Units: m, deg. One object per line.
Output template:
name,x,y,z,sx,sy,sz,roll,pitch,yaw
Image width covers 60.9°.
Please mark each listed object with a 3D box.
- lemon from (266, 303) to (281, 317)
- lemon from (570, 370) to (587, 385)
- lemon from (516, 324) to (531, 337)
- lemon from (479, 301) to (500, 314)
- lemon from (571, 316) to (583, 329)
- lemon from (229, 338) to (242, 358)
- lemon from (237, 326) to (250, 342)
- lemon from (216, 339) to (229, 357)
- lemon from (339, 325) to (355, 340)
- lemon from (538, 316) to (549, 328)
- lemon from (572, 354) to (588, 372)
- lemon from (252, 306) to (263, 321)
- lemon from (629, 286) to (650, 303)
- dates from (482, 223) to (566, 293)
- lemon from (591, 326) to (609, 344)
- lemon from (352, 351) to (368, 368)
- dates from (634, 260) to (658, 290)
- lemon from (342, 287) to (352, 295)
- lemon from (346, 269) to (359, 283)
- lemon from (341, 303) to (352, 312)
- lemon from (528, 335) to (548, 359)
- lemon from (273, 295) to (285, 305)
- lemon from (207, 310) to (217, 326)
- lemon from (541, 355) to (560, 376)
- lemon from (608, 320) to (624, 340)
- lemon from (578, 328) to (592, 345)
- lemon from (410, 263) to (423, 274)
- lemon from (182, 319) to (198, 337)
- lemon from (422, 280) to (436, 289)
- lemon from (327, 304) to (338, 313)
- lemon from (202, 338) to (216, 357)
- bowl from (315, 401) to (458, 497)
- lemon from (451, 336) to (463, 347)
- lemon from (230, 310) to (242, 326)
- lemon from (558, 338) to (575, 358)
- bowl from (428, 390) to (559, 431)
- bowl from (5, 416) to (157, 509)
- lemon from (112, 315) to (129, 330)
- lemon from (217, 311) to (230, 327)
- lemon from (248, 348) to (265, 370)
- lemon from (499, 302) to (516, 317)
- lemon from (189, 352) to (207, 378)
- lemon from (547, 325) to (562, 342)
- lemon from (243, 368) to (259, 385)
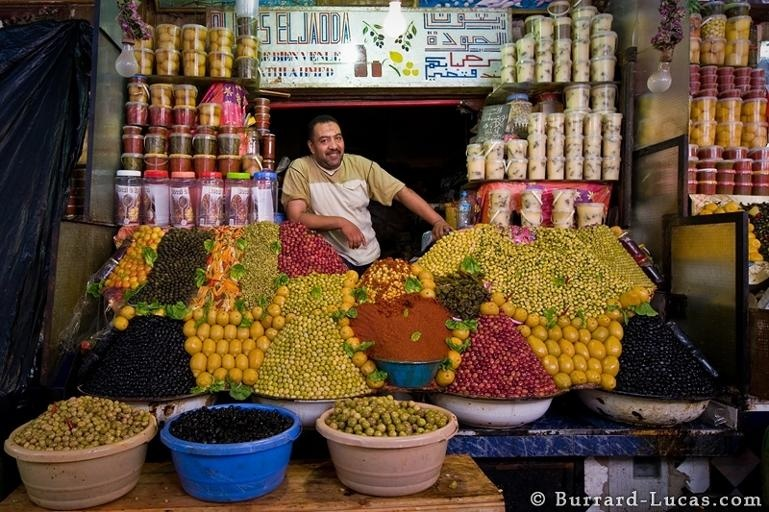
lemon,-0.789,0.386,4.680,0.084,0.084,0.079,5,-2,-39
lemon,1.385,0.862,4.659,0.097,0.052,0.095,-5,41,-11
lemon,1.030,0.542,4.814,0.079,0.091,0.076,21,25,40
lemon,0.770,0.384,4.786,0.099,0.098,0.101,3,31,-11
lemon,1.425,0.490,4.818,0.077,0.075,0.074,2,3,9
lemon,-1.052,0.646,4.618,0.078,0.101,0.075,3,-16,-4
lemon,-1.005,0.550,4.662,0.076,0.094,0.053,-2,-7,1
lemon,-1.131,0.646,4.606,0.078,0.103,0.077,2,-15,1
lemon,-0.261,0.537,4.616,0.085,0.084,0.082,-10,-12,9
lemon,1.179,0.480,4.831,0.062,0.074,0.063,16,42,5
lemon,1.410,0.765,4.697,0.097,0.050,0.100,-1,52,-35
lemon,-0.913,0.410,4.743,0.084,0.100,0.084,16,25,24
lemon,1.911,0.288,4.881,0.128,0.065,0.130,-11,18,-19
dates,1.052,0.024,4.932,0.526,0.520,0.174,2,-36,4
lemon,1.590,0.573,4.842,0.097,0.106,0.102,51,14,27
lemon,-0.172,0.710,4.573,0.104,0.102,0.095,11,34,18
dates,2.104,0.146,5.137,0.187,0.172,0.205,-3,11,-9
lemon,-0.268,0.254,4.782,0.053,0.044,0.044,-24,-13,-8
lemon,-0.234,0.154,4.922,0.087,0.086,0.087,21,-15,-34
lemon,-0.269,0.364,4.662,0.057,0.057,0.057,28,35,7
lemon,1.115,0.651,4.730,0.134,0.137,0.069,8,14,38
lemon,-0.759,0.319,4.739,0.064,0.063,0.063,25,6,-3
lemon,-1.227,0.434,4.645,0.069,0.088,0.049,-4,-13,-4
lemon,1.195,0.778,4.675,0.121,0.133,0.066,0,11,3
lemon,1.708,0.541,4.802,0.095,0.127,0.074,-15,-19,-12
lemon,1.471,0.590,4.777,0.092,0.110,0.092,-14,-9,41
lemon,0.243,0.091,4.848,0.077,0.046,0.062,11,15,8
lemon,-1.371,0.510,4.618,0.101,0.113,0.099,3,19,-23
lemon,0.329,0.207,4.730,0.115,0.058,0.070,-6,12,-23
lemon,-0.366,0.374,4.647,0.053,0.052,0.063,-22,10,-11
lemon,-1.232,0.637,4.586,0.082,0.107,0.083,-4,-9,-4
bowl,0.014,1.158,4.434,0.847,0.542,1.117,-4,10,-21
lemon,0.512,0.601,4.621,0.079,0.062,0.060,10,30,-3
lemon,-1.059,0.442,4.722,0.088,0.101,0.091,-19,50,-31
lemon,1.330,0.658,4.757,0.087,0.063,0.116,-14,57,-12
bowl,0.751,1.022,4.935,0.810,0.269,0.798,1,7,0
bowl,-1.866,1.233,4.034,0.562,0.273,0.559,1,4,0
lemon,-1.900,0.468,4.739,0.105,0.082,0.082,27,21,26
lemon,-1.148,0.442,4.656,0.089,0.090,0.090,-2,-1,-13
lemon,-0.899,0.724,4.603,0.101,0.133,0.075,14,-24,-8
lemon,0.917,0.401,4.826,0.093,0.090,0.093,15,-7,14
lemon,-1.285,0.754,4.551,0.104,0.103,0.142,2,43,3
lemon,1.253,0.565,4.785,0.098,0.114,0.095,-2,3,23
lemon,-0.933,0.839,4.602,0.099,0.101,0.101,17,10,-23
